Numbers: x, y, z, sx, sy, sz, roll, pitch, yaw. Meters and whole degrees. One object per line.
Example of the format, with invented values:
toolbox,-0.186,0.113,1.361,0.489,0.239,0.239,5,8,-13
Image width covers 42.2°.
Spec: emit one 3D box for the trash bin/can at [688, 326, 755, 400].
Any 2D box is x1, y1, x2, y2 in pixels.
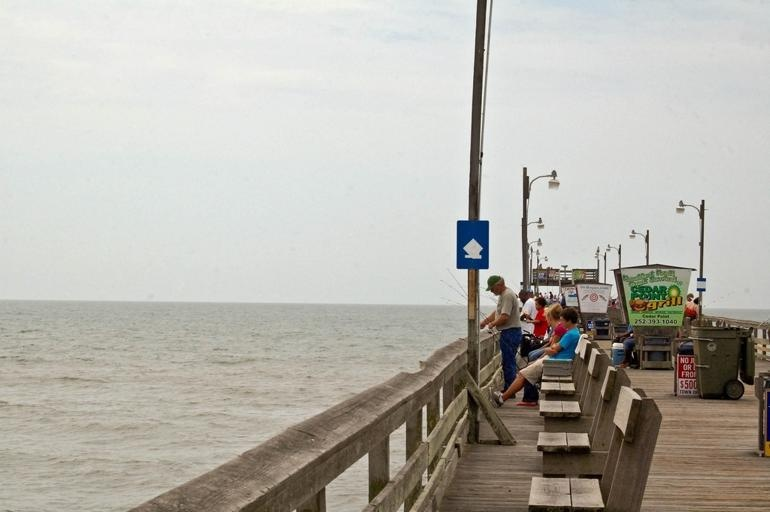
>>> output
trash bin/can,6.947,2.166,20.331,1.199,1.492,0.970,0,-1,11
